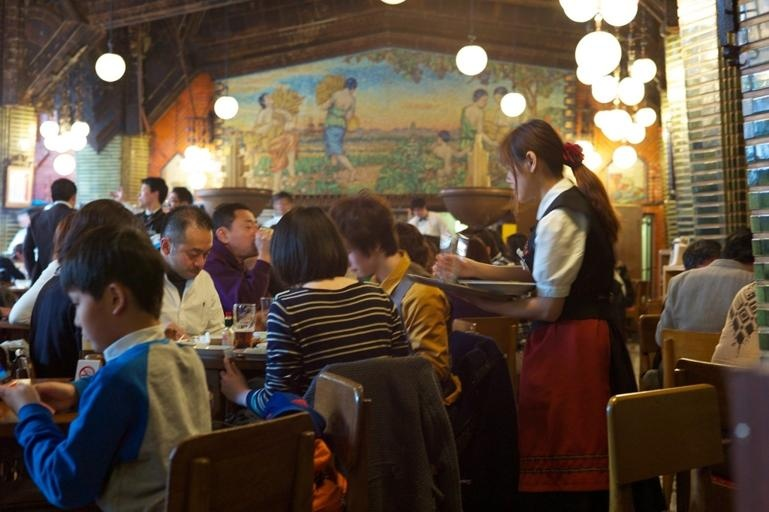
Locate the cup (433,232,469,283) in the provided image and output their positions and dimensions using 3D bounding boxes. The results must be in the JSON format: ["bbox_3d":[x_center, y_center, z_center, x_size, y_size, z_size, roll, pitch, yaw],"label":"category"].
[{"bbox_3d":[0.300,0.018,2.867,0.099,0.229,0.135,27,-5,-42],"label":"cup"}]
